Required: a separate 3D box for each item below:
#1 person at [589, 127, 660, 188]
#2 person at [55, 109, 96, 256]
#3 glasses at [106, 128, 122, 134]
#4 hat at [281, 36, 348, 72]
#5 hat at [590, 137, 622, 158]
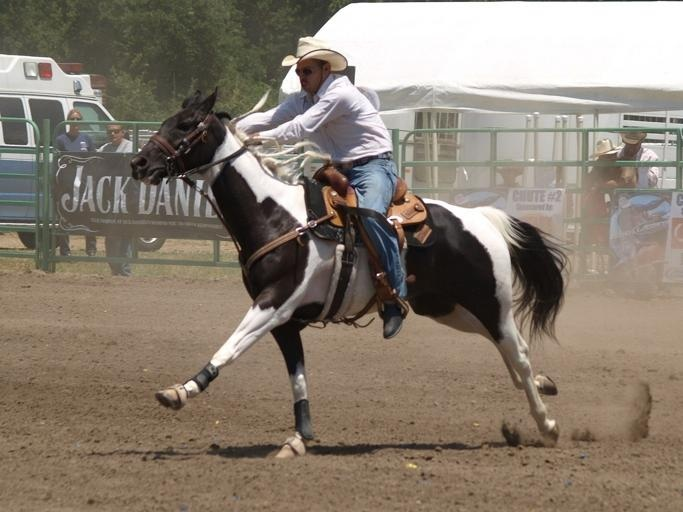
[{"bbox_3d":[4.372,-1.430,14.550,1.273,1.016,0.801,3,-5,-9],"label":"person"},{"bbox_3d":[-4.172,-1.094,14.604,0.588,2.154,1.341,-2,6,-15],"label":"person"},{"bbox_3d":[-3.486,-1.946,14.305,0.136,0.040,0.137,1,-8,22],"label":"glasses"},{"bbox_3d":[-0.200,-1.813,8.428,0.484,0.173,0.435,3,-3,15],"label":"hat"},{"bbox_3d":[4.201,-1.738,14.838,0.386,0.184,0.524,-20,-1,4],"label":"hat"}]
